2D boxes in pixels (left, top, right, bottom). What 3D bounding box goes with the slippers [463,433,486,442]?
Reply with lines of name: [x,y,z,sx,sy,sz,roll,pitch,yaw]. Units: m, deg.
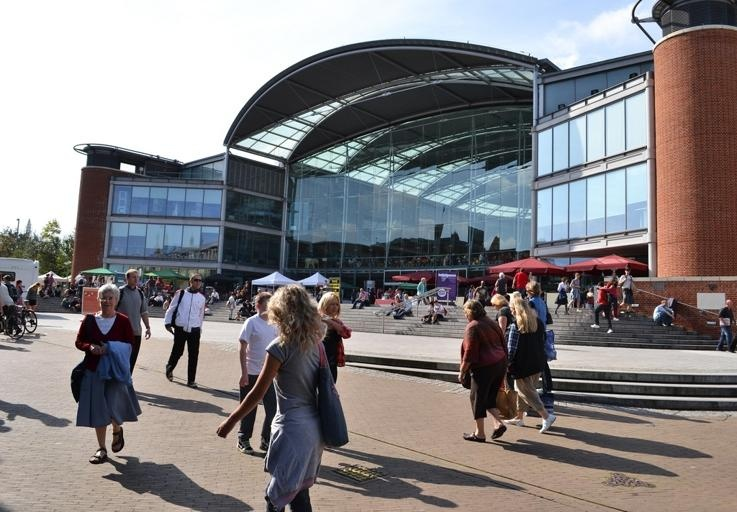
slippers: [1.687,2.917,9.246,0.266,0.092,0.139,7,-6,16]

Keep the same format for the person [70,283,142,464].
person: [-3.611,1.586,7.938,0.815,2.306,0.702,2,0,18]

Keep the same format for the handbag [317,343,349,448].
handbag: [-0.374,1.480,6.020,0.319,1.045,0.280,2,0,-3]

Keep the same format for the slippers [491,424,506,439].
slippers: [2.131,2.816,9.263,0.152,0.139,0.378,21,-39,-17]

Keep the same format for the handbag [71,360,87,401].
handbag: [-3.927,1.695,7.816,0.205,0.523,0.090,2,0,26]

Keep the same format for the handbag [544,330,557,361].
handbag: [3.313,1.665,10.575,0.179,0.604,0.759,2,0,18]

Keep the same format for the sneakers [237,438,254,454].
sneakers: [-1.773,2.748,8.322,0.115,0.122,0.275,9,-11,-43]

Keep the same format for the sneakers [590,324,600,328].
sneakers: [8.574,2.658,21.832,0.263,0.114,0.144,-1,0,5]

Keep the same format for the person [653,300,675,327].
person: [11.362,2.203,22.272,0.584,1.042,0.938,2,0,44]

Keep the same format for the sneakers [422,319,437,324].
sneakers: [2.711,2.929,25.836,0.682,0.287,0.226,-7,-10,34]

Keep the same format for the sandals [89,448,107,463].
sandals: [-3.645,2.682,7.814,0.222,0.192,0.281,2,0,-25]

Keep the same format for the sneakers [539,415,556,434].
sneakers: [3.056,2.882,9.870,0.135,0.312,0.112,22,21,-5]

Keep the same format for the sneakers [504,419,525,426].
sneakers: [2.584,2.909,10.226,0.310,0.125,0.139,3,-5,25]

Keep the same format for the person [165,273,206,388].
person: [-3.841,1.506,12.072,0.734,2.225,1.591,2,0,-18]

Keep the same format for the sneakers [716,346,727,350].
sneakers: [11.914,3.136,19.564,0.445,0.182,0.147,13,-15,-32]

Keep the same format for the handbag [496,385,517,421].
handbag: [2.281,2.397,9.551,0.307,0.554,0.481,2,0,18]

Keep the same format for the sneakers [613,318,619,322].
sneakers: [9.662,2.480,22.549,0.156,0.076,0.207,-1,0,6]

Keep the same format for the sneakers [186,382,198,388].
sneakers: [-3.592,2.642,11.774,0.090,0.110,0.267,8,-14,-44]
